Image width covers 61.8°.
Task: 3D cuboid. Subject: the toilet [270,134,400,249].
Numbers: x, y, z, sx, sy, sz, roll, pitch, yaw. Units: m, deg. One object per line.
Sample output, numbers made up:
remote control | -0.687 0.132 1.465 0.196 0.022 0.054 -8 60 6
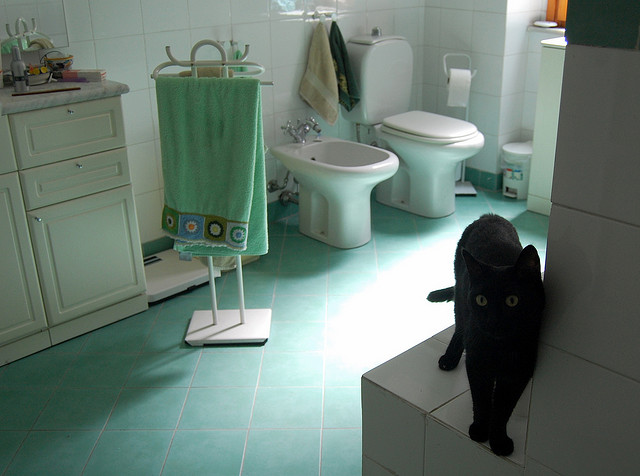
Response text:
toilet | 0.112 -0.270 3.299 0.789 0.529 0.545 18 29 36

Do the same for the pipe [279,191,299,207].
pipe | -0.202 -0.262 3.545 0.087 0.081 0.114 4 10 -45

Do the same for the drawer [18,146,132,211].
drawer | -1.040 -0.262 2.300 0.286 0.133 0.395 12 27 39

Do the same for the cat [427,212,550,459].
cat | 0.411 0.191 1.258 0.227 0.331 0.677 0 17 10

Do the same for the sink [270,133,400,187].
sink | 0.110 -0.413 3.211 0.728 0.235 0.471 19 34 39

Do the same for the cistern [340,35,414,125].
cistern | 0.380 -1.119 3.695 0.313 0.539 0.613 22 32 35

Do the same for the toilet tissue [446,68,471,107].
toilet tissue | 0.966 -1.013 3.667 0.151 0.218 0.121 15 16 19

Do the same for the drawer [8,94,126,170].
drawer | -1.041 -0.448 2.248 0.314 0.237 0.502 20 31 37
